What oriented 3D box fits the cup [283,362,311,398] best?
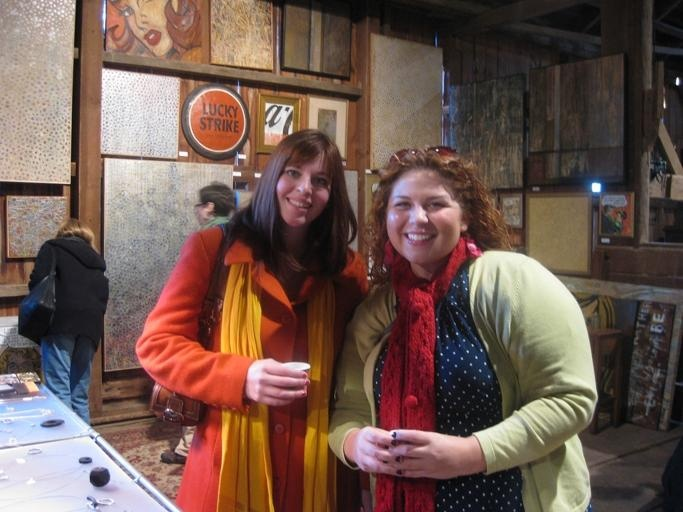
[{"bbox_3d":[-0.168,0.456,2.215,0.102,0.135,0.104,0,-5,0],"label":"cup"}]

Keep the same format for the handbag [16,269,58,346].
[{"bbox_3d":[-2.120,0.355,4.154,0.237,0.492,0.148,0,4,-14],"label":"handbag"}]

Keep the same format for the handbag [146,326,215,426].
[{"bbox_3d":[-0.607,0.450,2.282,0.222,0.358,0.199,14,-24,16],"label":"handbag"}]

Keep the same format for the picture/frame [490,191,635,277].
[{"bbox_3d":[1.887,-0.184,4.829,0.025,0.685,0.600,-6,-9,-41],"label":"picture/frame"}]
